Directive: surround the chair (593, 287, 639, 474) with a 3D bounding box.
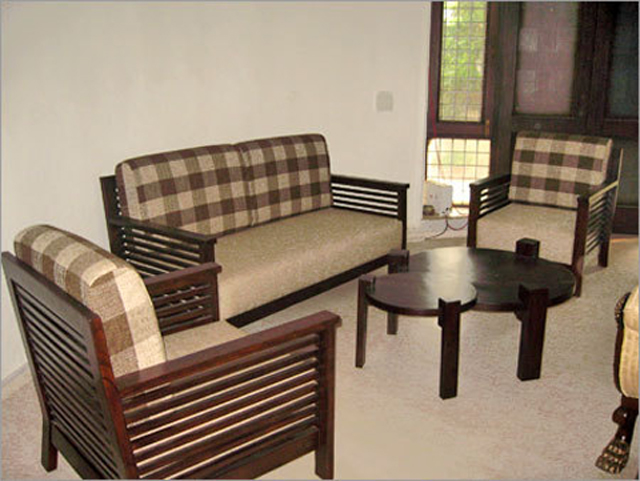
[{"bbox_3d":[1.366,0.617,2.448,0.140,0.903,0.295,7,23,28],"label":"chair"}]

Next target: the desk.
[{"bbox_3d":[0.925,0.500,3.497,1.389,0.509,1.160,-6,7,-39],"label":"desk"}]

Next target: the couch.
[{"bbox_3d":[-0.359,-0.138,4.017,1.016,0.950,1.980,19,26,38],"label":"couch"}]

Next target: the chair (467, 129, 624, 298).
[{"bbox_3d":[1.912,-0.289,4.651,0.980,1.141,1.173,15,22,38],"label":"chair"}]
